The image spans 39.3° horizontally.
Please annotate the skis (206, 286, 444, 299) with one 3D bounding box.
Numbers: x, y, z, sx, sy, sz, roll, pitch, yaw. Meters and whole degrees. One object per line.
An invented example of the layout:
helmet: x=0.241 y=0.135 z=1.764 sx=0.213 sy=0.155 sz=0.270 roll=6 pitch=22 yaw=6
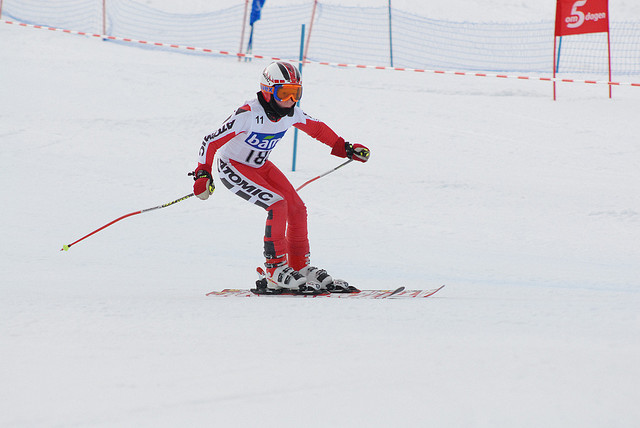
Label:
skis: x=0.076 y=0.990 z=11.151 sx=1.916 sy=0.165 sz=0.073 roll=-1 pitch=43 yaw=-2
